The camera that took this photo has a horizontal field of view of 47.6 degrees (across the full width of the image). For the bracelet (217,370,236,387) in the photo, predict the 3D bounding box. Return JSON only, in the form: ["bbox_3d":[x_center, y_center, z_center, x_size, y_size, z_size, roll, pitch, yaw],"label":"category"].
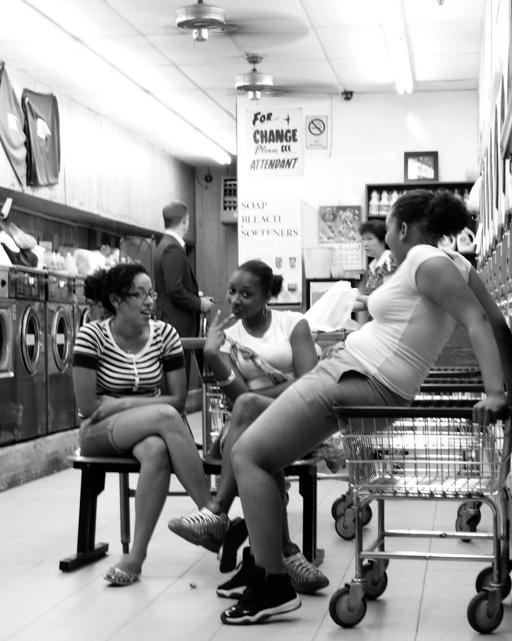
[{"bbox_3d":[-0.094,0.211,2.062,0.053,0.017,0.055,-39,-12,-41],"label":"bracelet"}]

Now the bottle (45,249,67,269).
[{"bbox_3d":[-2.445,-0.754,7.096,0.191,0.358,0.103,-1,-7,-28],"label":"bottle"}]

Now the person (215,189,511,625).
[{"bbox_3d":[0.329,0.260,2.146,0.965,2.006,0.645,1,-6,13],"label":"person"}]
